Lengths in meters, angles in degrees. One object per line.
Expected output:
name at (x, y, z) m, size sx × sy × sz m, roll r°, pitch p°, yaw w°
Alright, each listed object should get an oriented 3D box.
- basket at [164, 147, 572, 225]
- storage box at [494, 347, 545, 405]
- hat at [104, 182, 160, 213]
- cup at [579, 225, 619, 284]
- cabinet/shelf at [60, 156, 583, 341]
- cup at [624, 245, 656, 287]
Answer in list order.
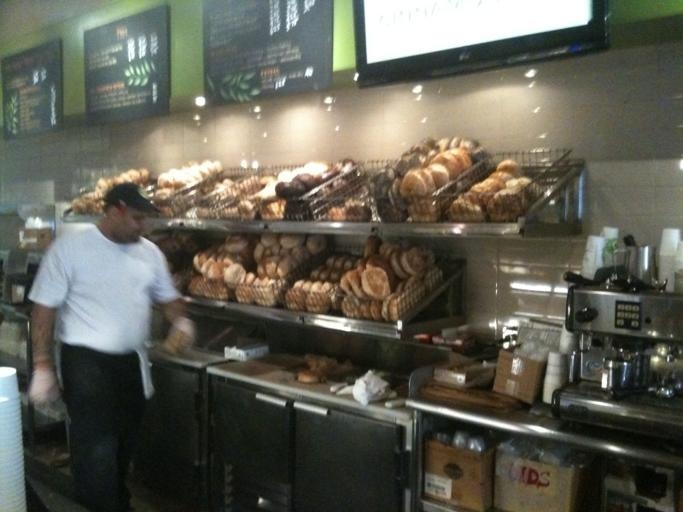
basket at (0.003, -0.407, 3.731) m, size 2.833 × 0.476 × 0.681 m, roll 1°, pitch 6°, yaw 35°
storage box at (0.898, 0.623, 2.993) m, size 0.212 × 0.208 × 0.219 m, roll 14°, pitch -8°, yaw 9°
hat at (-1.164, -0.317, 3.181) m, size 0.228 × 0.130 × 0.162 m, roll 3°, pitch 8°, yaw -10°
cup at (1.271, -0.016, 2.839) m, size 0.201 × 0.235 × 0.115 m, roll -7°, pitch 7°, yaw -41°
cabinet/shelf at (-0.393, -0.022, 4.189) m, size 4.120 × 1.209 × 1.205 m, roll 3°, pitch 30°, yaw 16°
cup at (1.379, 0.036, 2.711) m, size 0.174 × 0.189 × 0.106 m, roll 1°, pitch 21°, yaw 37°
